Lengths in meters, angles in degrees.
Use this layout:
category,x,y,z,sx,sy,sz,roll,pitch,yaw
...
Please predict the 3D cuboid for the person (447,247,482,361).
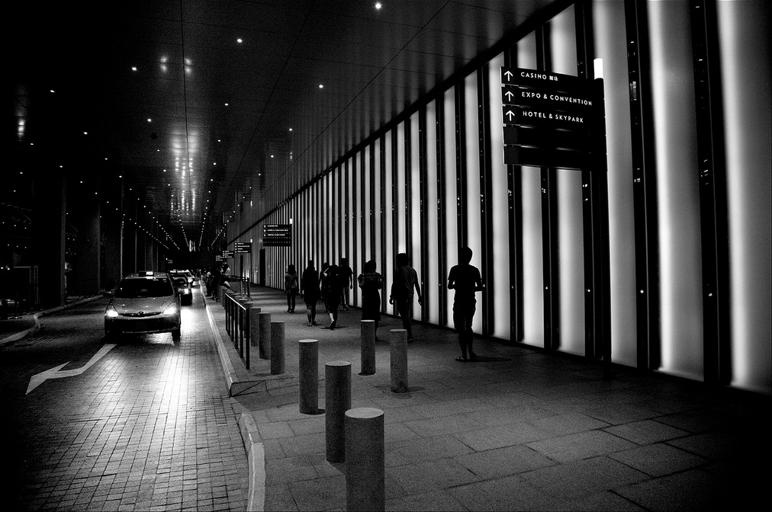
category,x,y,z,sx,sy,sz,roll,pitch,yaw
person,1.770,1.112,13.911,0.709,1.768,1.173,-2,1,6
